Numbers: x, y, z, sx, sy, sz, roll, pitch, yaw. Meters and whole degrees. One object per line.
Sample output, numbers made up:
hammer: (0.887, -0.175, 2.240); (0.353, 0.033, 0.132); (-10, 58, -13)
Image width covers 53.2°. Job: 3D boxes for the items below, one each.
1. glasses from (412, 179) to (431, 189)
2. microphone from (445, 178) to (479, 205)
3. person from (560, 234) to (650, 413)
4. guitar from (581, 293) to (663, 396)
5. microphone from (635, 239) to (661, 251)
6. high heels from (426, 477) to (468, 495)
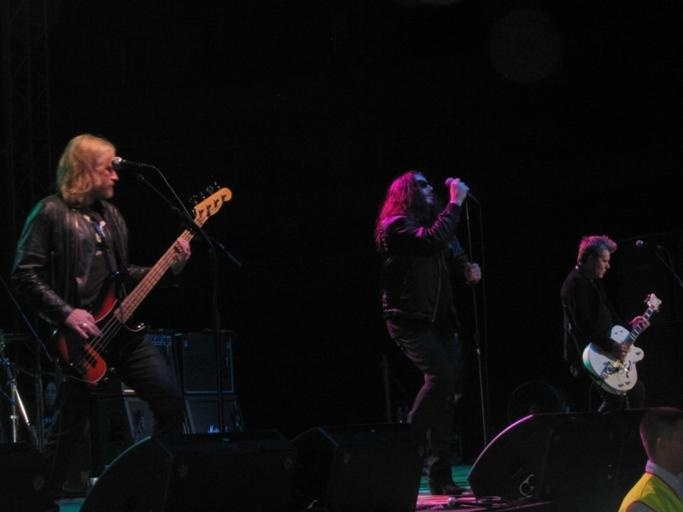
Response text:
glasses: (0.603, -0.552, 5.194); (0.075, 0.039, 0.103); (-16, -24, 41)
microphone: (0.907, -0.462, 5.149); (0.090, 0.168, 0.357); (-5, -10, 25)
person: (2.465, 0.529, 6.773); (0.278, 2.196, 0.935); (-22, -42, 40)
guitar: (2.847, 0.858, 6.939); (0.513, 1.081, 0.158); (40, -32, -4)
microphone: (3.375, -0.122, 7.493); (0.237, 0.072, 0.065); (9, -60, -11)
high heels: (0.714, 1.558, 4.628); (0.252, 0.112, 0.096); (-7, -8, 17)
